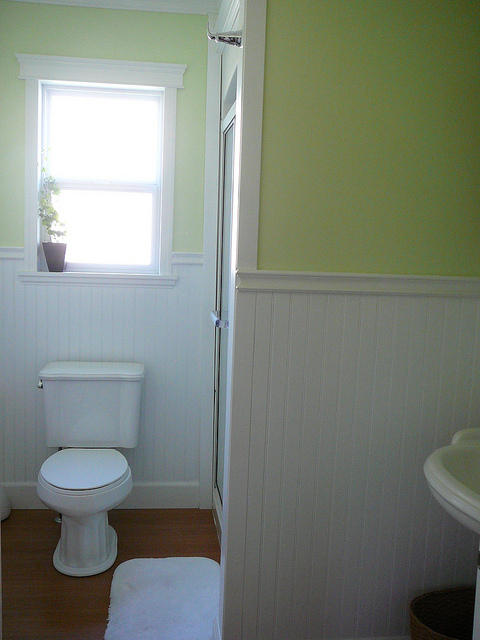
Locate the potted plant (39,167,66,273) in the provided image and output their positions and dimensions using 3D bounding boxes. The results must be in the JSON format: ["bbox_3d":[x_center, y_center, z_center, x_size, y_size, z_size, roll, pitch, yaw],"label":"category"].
[{"bbox_3d":[-0.868,-0.463,2.581,0.111,0.486,0.163,-1,6,-28],"label":"potted plant"}]

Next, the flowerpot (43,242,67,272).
[{"bbox_3d":[-0.836,-0.279,2.553,0.093,0.159,0.106,2,4,-7],"label":"flowerpot"}]

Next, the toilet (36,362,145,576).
[{"bbox_3d":[-0.639,0.623,2.368,0.329,0.776,0.607,1,11,-11],"label":"toilet"}]
